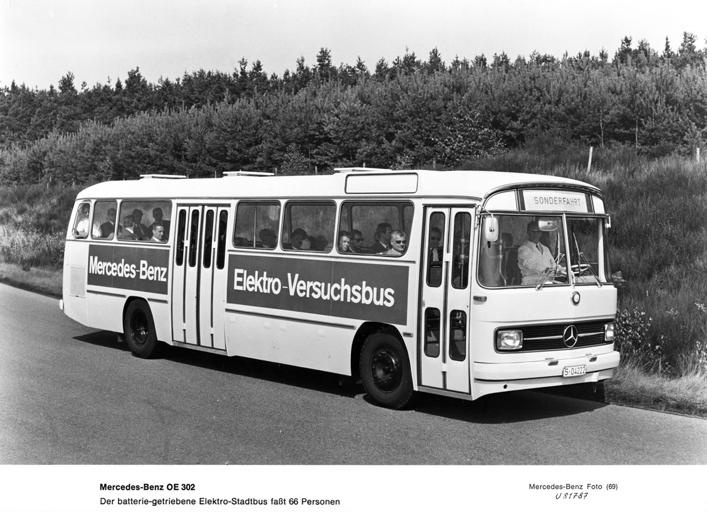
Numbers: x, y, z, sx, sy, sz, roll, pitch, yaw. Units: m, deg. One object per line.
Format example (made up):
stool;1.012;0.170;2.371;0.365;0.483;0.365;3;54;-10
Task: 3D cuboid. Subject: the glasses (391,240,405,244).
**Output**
glasses;0.740;-0.253;9.930;0.072;0.093;0.292;-2;4;-39

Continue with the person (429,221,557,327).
person;2.288;-0.011;9.285;2.106;1.252;0.926;-1;3;-14
